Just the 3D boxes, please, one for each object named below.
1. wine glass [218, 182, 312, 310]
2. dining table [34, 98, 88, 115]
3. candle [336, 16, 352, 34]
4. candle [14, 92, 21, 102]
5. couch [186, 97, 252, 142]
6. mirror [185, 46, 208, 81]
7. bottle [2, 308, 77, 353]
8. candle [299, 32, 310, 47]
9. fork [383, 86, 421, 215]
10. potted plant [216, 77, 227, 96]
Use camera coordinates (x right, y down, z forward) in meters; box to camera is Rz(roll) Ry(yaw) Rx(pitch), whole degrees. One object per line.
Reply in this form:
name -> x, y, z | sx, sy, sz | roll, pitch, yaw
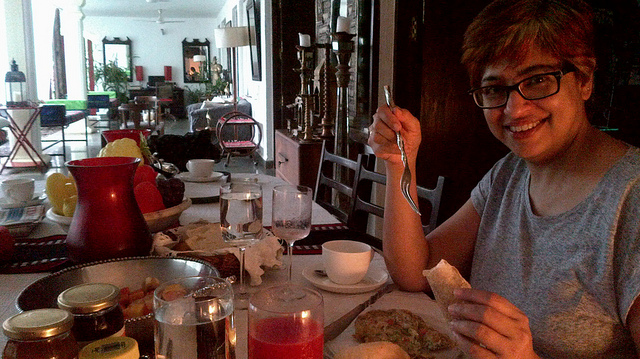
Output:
wine glass -> -0.169, 0.161, 1.473 | 0.249, 0.439, 0.229 | -4, 8, -34
dining table -> -4.877, -1.382, 8.475 | 1.067, 0.282, 1.094 | 1, 9, 1
candle -> 0.183, -1.168, 3.405 | 0.148, 0.151, 0.140 | 0, 9, 3
candle -> -4.376, -1.200, 6.485 | 0.077, 0.119, 0.080 | 6, 16, 35
couch -> -1.856, -1.149, 8.569 | 1.017, 0.686, 2.158 | -8, 13, -24
mirror -> -4.169, -3.919, 15.084 | 0.686, 1.148, 0.440 | 0, 14, 12
bottle -> -0.614, 0.339, 0.984 | 0.110, 0.092, 0.104 | 1, 3, -13
candle -> -0.146, -1.283, 4.076 | 0.127, 0.144, 0.121 | -1, 2, -12
fork -> 0.286, -0.089, 1.533 | 0.066, 0.522, 0.058 | -5, 30, 21
potted plant -> -2.727, -2.598, 12.493 | 0.247, 0.509, 0.660 | -7, 13, -15
